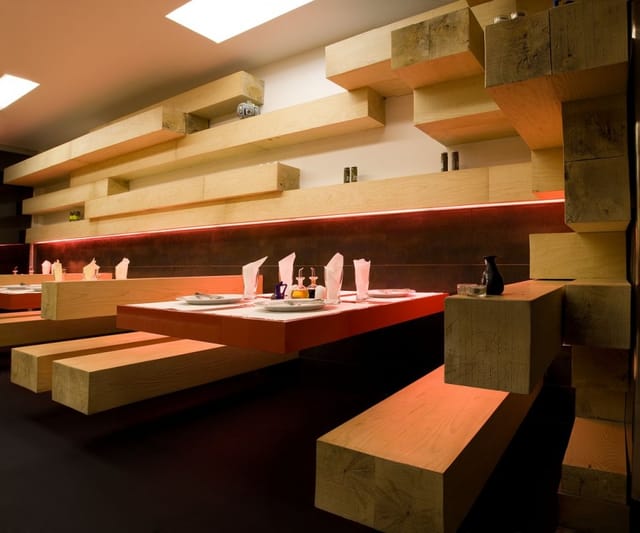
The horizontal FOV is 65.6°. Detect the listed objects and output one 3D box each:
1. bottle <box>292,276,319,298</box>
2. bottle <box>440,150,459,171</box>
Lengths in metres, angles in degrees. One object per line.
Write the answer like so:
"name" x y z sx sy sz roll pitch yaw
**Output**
"bottle" -0.072 0.103 2.384 0.141 0.142 0.083 -1 2 1
"bottle" 0.876 -0.710 3.345 0.125 0.145 0.223 1 7 14
